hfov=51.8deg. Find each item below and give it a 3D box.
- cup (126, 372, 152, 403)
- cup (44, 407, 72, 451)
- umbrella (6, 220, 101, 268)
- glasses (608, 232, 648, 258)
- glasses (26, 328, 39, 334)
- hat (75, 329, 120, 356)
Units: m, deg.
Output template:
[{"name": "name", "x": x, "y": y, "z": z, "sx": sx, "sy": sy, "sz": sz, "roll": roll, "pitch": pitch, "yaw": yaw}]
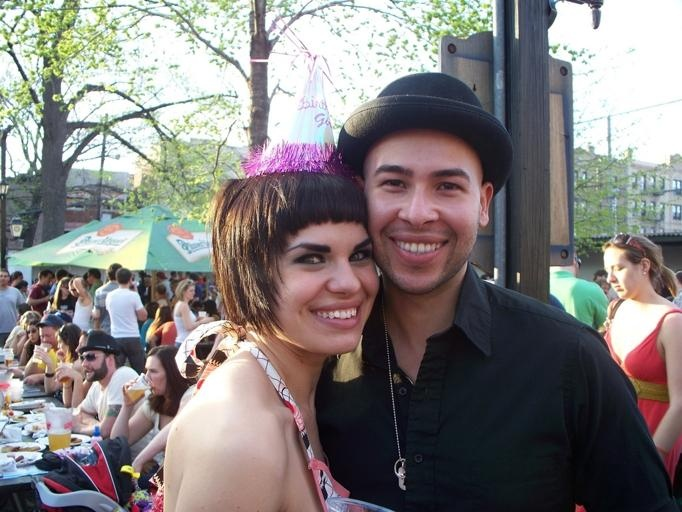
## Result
[{"name": "cup", "x": -1.943, "y": 1.278, "z": 6.784, "sx": 0.205, "sy": 0.227, "sz": 0.206, "roll": 43, "pitch": 0, "yaw": 0}, {"name": "cup", "x": -2.501, "y": 1.529, "z": 6.238, "sx": 0.209, "sy": 0.372, "sz": 0.369, "roll": -1, "pitch": -3, "yaw": -24}, {"name": "umbrella", "x": -6.375, "y": -0.379, "z": 15.034, "sx": 2.016, "sy": 0.812, "sz": 1.617, "roll": -1, "pitch": -5, "yaw": -11}, {"name": "glasses", "x": 2.446, "y": -0.139, "z": 5.962, "sx": 0.202, "sy": 0.066, "sz": 0.196, "roll": 42, "pitch": -18, "yaw": -23}, {"name": "glasses", "x": -4.514, "y": 1.103, "z": 10.356, "sx": 0.087, "sy": 0.073, "sz": 0.125, "roll": -4, "pitch": -12, "yaw": -5}, {"name": "hat", "x": -2.537, "y": 0.909, "z": 7.401, "sx": 0.300, "sy": 0.158, "sz": 0.385, "roll": -9, "pitch": -21, "yaw": 33}]
